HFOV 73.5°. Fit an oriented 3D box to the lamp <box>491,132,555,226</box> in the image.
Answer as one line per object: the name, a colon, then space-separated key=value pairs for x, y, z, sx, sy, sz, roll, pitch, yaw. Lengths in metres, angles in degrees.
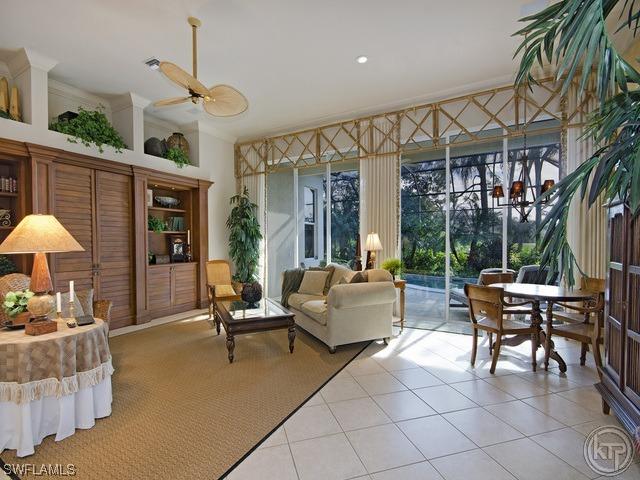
lamp: x=3.025 y=-0.875 z=6.345 sx=0.890 sy=1.274 sz=0.946 roll=7 pitch=14 yaw=30

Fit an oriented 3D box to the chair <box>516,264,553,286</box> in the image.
chair: x=2.793 y=0.457 z=5.569 sx=0.322 sy=0.444 sz=0.360 roll=0 pitch=-6 yaw=45

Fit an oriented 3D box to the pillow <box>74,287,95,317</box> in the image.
pillow: x=-2.883 y=0.761 z=5.196 sx=0.097 sy=0.300 sz=0.289 roll=-19 pitch=-5 yaw=19

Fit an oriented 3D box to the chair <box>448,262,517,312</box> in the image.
chair: x=2.527 y=0.726 z=6.641 sx=0.862 sy=1.029 sz=0.695 roll=0 pitch=-5 yaw=-4

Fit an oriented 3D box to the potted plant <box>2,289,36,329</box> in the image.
potted plant: x=-2.985 y=0.680 z=4.190 sx=0.329 sy=0.382 sz=0.369 roll=1 pitch=-8 yaw=3
